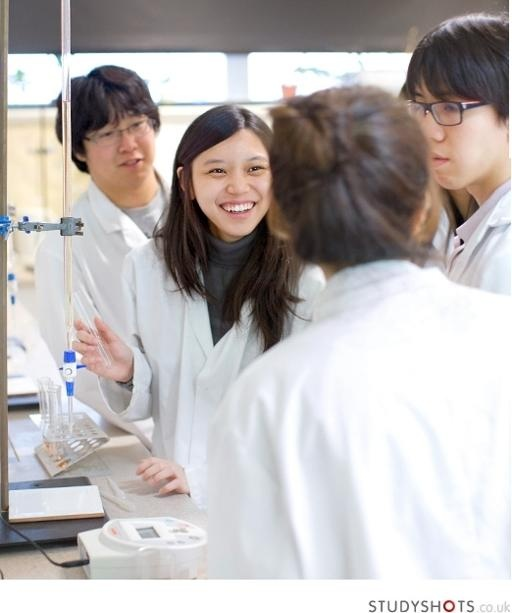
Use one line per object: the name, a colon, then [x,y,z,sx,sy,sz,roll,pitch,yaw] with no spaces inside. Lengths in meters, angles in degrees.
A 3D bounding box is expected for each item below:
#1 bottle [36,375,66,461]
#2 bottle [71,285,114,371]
bottle: [-0.393,0.213,1.248,0.045,0.167,0.160,-8,15,-20]
bottle: [-0.374,0.049,1.477,0.055,0.225,0.050,-16,9,10]
